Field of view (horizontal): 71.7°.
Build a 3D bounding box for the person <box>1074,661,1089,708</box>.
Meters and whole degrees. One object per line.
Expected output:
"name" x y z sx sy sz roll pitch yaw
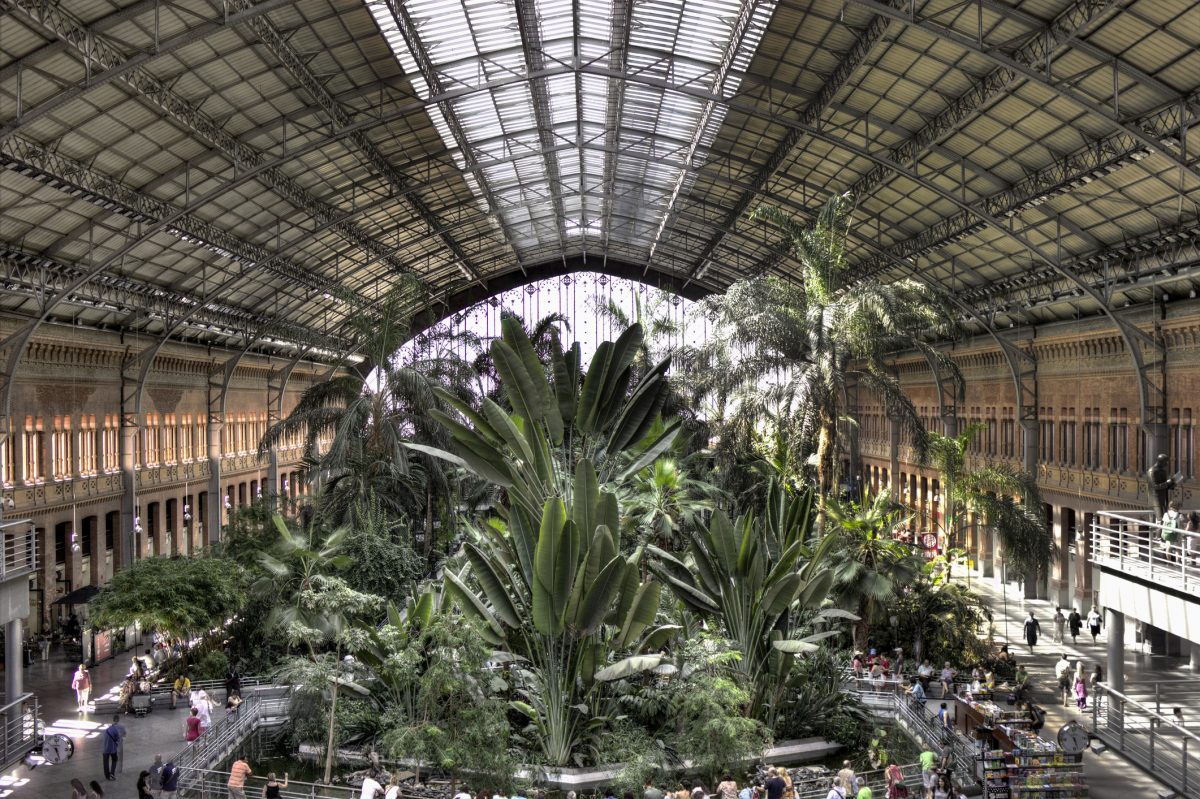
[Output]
"person" 13.412 8.125 23.491 0.302 1.183 0.952 -5 -14 24
